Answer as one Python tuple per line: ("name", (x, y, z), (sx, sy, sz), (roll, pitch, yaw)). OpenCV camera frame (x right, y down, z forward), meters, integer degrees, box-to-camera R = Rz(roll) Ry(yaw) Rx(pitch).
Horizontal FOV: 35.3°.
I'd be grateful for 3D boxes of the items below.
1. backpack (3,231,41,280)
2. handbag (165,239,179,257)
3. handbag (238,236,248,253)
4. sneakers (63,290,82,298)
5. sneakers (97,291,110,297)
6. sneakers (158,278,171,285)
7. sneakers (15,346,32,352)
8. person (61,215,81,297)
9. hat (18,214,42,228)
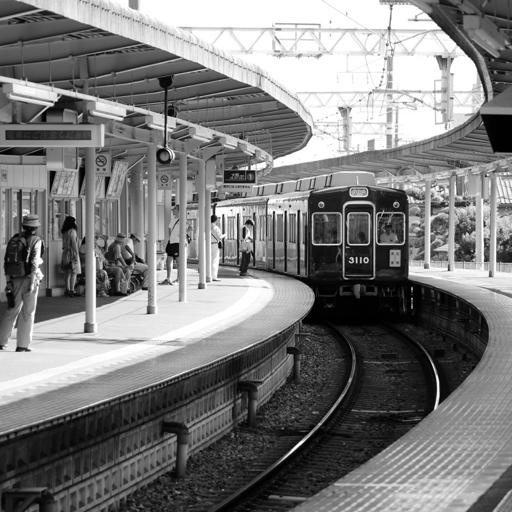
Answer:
("backpack", (-2.597, -0.007, 9.098), (0.421, 0.698, 0.399), (1, -5, 35))
("handbag", (-1.798, -0.155, 17.259), (0.201, 0.369, 0.765), (1, 3, -11))
("handbag", (-0.402, -0.305, 22.219), (0.295, 0.600, 0.291), (5, 8, 35))
("sneakers", (-3.575, 0.718, 15.791), (0.348, 0.180, 0.130), (-2, 9, -1))
("sneakers", (-3.082, 0.742, 16.213), (0.226, 0.124, 0.296), (1, 3, -14))
("sneakers", (-2.229, 0.609, 19.316), (0.379, 0.178, 0.143), (3, 1, 0))
("sneakers", (-2.582, 1.030, 8.969), (0.166, 0.070, 0.080), (1, 3, -20))
("person", (-3.512, 0.017, 15.300), (0.357, 1.560, 1.059), (1, 3, -13))
("hat", (-3.089, -0.492, 10.934), (0.326, 0.170, 0.471), (-1, 18, -18))
